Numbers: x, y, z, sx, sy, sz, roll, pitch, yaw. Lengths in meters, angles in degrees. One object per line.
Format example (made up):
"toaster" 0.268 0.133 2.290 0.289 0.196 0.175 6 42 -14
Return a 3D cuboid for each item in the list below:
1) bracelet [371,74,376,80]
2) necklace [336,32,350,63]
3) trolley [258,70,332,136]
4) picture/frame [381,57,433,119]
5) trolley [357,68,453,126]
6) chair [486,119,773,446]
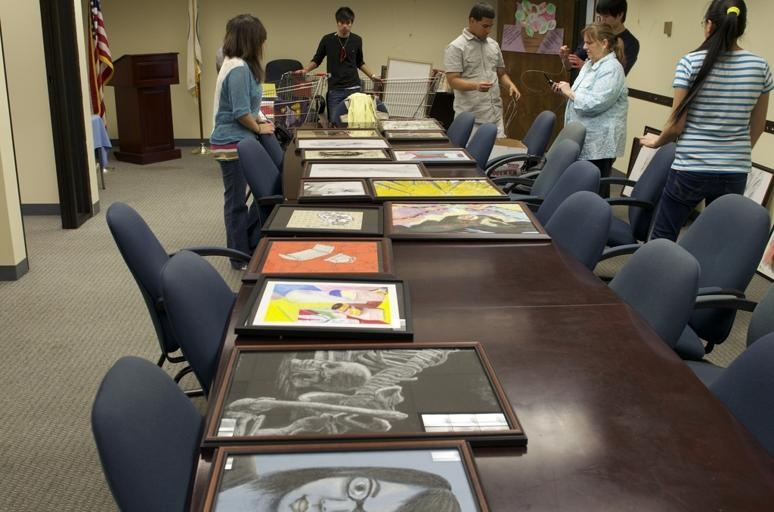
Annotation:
"bracelet" -0.195 -2.684 7.649 0.053 0.065 0.073 -2 -1 0
"necklace" -0.645 -3.118 7.707 0.126 0.365 0.134 0 26 -5
"trolley" -1.249 -2.227 7.254 0.874 0.900 0.563 -3 19 7
"picture/frame" 0.356 -2.338 7.410 0.374 0.571 0.586 10 20 31
"trolley" 0.279 -2.423 7.518 0.784 0.711 0.535 -5 20 -36
"chair" 1.146 0.067 2.255 1.278 0.886 0.895 -25 26 -31
